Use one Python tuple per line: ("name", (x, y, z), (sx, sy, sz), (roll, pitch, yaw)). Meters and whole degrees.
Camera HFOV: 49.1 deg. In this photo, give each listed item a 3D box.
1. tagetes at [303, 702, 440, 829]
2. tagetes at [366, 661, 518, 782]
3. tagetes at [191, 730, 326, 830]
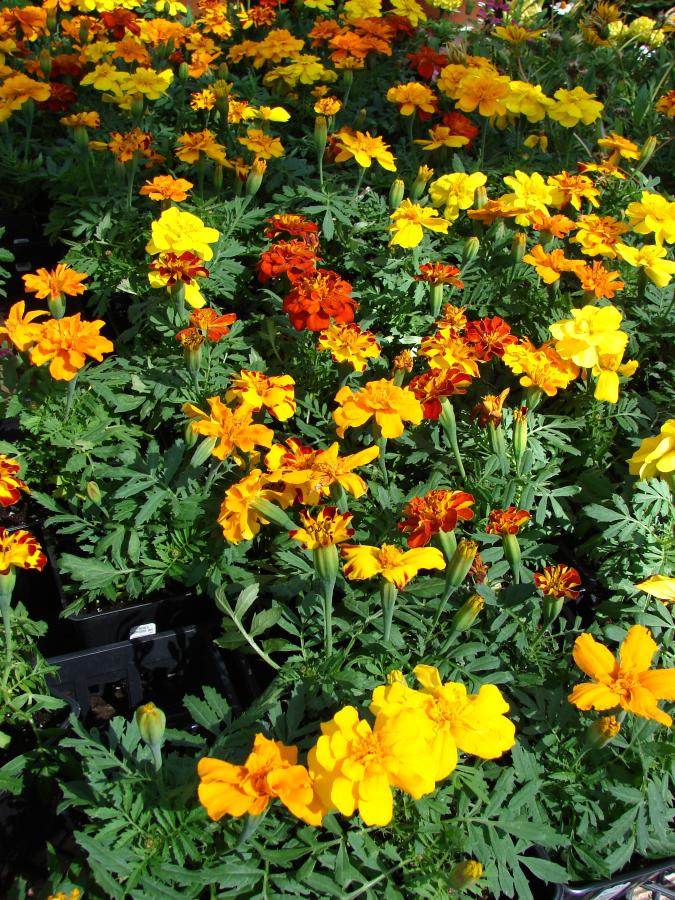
("tagetes", (0.036, 0.294, 0.699), (0.131, 0.047, 0.119), (-13, 48, -3))
("tagetes", (0.097, 0.275, 0.778), (0.141, 0.043, 0.130), (21, 36, 15))
("tagetes", (-0.077, 0.319, 0.708), (0.109, 0.042, 0.100), (-12, 33, -26))
